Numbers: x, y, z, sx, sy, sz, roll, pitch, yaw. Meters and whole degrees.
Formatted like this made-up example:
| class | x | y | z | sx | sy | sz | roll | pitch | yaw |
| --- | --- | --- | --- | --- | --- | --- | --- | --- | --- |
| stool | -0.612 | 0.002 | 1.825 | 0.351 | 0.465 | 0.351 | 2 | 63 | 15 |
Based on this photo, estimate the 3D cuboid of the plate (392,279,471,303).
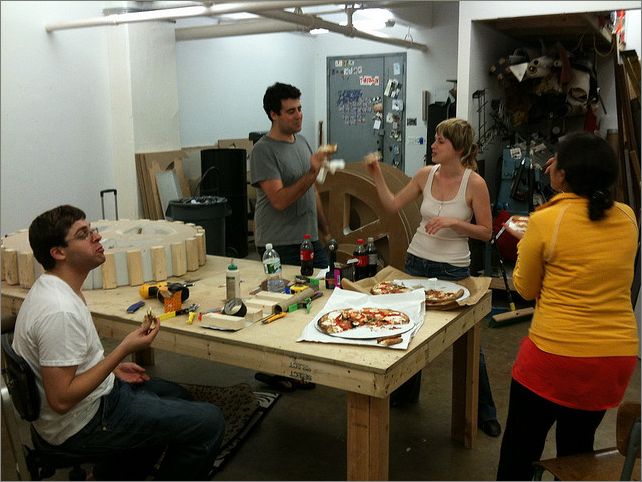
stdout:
| class | x | y | z | sx | sy | sz | roll | pitch | yaw |
| --- | --- | --- | --- | --- | --- | --- | --- | --- | --- |
| plate | 0.657 | 0.278 | 2.807 | 0.202 | 0.023 | 0.204 | -9 | 17 | -28 |

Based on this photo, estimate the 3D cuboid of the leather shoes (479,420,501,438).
| class | x | y | z | sx | sy | sz | roll | pitch | yaw |
| --- | --- | --- | --- | --- | --- | --- | --- | --- | --- |
| leather shoes | 1.084 | 1.212 | 3.250 | 0.062 | 0.063 | 0.146 | -15 | 11 | -27 |

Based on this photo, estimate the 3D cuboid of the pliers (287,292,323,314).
| class | x | y | z | sx | sy | sz | roll | pitch | yaw |
| --- | --- | --- | --- | --- | --- | --- | --- | --- | --- |
| pliers | -0.091 | 0.347 | 2.749 | 0.130 | 0.042 | 0.076 | -37 | 30 | -26 |

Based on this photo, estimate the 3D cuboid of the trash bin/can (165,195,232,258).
| class | x | y | z | sx | sy | sz | roll | pitch | yaw |
| --- | --- | --- | --- | --- | --- | --- | --- | --- | --- |
| trash bin/can | -1.428 | -0.351 | 6.197 | 0.863 | 0.955 | 0.685 | -7 | 10 | -30 |

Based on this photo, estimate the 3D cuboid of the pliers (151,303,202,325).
| class | x | y | z | sx | sy | sz | roll | pitch | yaw |
| --- | --- | --- | --- | --- | --- | --- | --- | --- | --- |
| pliers | -0.766 | 0.370 | 2.671 | 0.085 | 0.039 | 0.323 | 31 | 27 | 35 |
